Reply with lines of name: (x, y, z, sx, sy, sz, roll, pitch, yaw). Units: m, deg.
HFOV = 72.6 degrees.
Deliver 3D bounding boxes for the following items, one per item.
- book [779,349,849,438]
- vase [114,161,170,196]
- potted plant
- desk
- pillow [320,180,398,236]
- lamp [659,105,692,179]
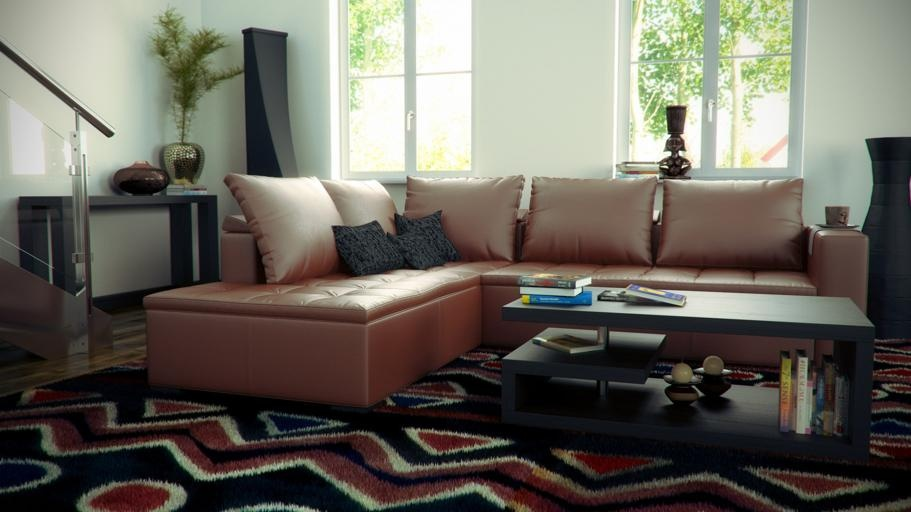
book: (2.026, 0.769, 3.522, 0.362, 0.446, 0.233, 1, 10, 11)
vase: (-3.188, -0.778, 6.310, 0.434, 0.244, 0.419, -7, 9, -43)
potted plant: (-2.829, -1.753, 6.830, 0.898, 1.909, 0.670, -8, 12, -35)
desk: (-3.149, -0.113, 5.765, 0.412, 0.644, 1.187, 0, 3, 36)
pillow: (-0.823, -0.381, 5.148, 0.195, 0.338, 0.542, -18, -6, 33)
lamp: (2.036, -1.062, 5.754, 0.276, 0.688, 0.631, 2, 10, 19)
